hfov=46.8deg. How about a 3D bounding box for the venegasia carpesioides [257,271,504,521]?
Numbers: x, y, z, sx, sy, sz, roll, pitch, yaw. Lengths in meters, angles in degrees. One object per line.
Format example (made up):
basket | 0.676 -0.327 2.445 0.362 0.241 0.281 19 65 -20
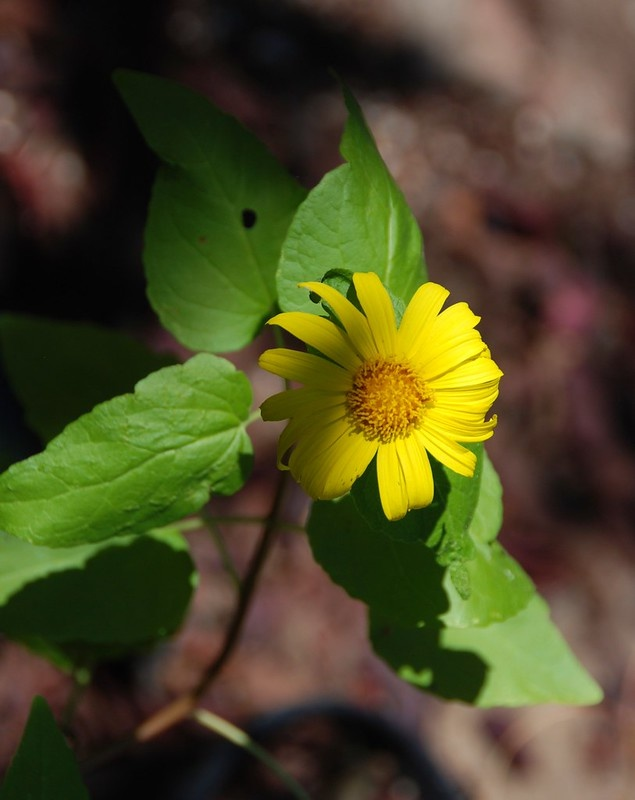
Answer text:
venegasia carpesioides | 0.110 -0.009 1.361 0.439 0.383 0.302 4 40 -15
